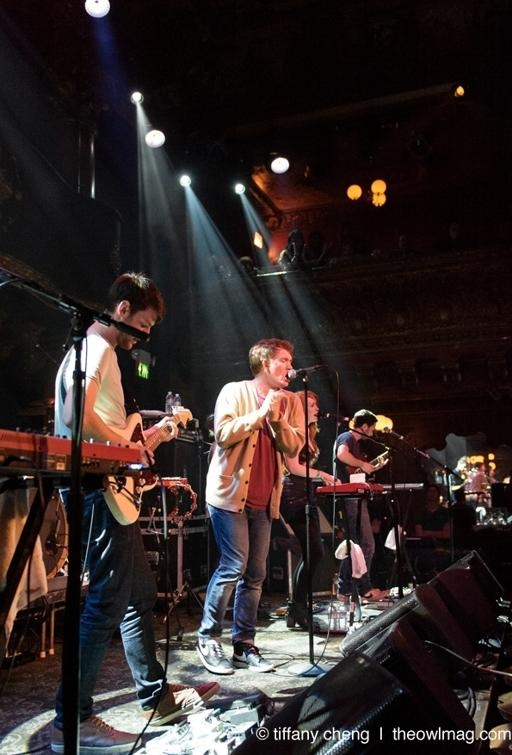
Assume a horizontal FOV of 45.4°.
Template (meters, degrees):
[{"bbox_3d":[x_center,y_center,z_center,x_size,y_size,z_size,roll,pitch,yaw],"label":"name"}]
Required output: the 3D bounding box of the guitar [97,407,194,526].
[{"bbox_3d":[-0.484,0.282,2.811,0.119,0.292,0.818,-31,6,18],"label":"guitar"}]

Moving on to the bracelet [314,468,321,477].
[{"bbox_3d":[0.447,0.678,4.349,0.028,0.069,0.053,-2,2,9],"label":"bracelet"}]

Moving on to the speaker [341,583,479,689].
[{"bbox_3d":[0.467,0.713,1.868,0.346,0.236,0.346,-45,-26,21],"label":"speaker"}]

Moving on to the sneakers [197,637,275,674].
[{"bbox_3d":[-0.106,1.370,2.993,0.227,0.100,0.292,17,-22,-30],"label":"sneakers"}]
